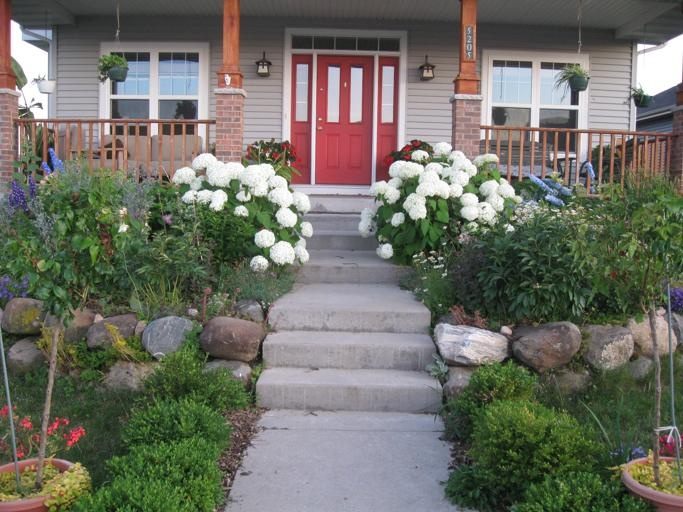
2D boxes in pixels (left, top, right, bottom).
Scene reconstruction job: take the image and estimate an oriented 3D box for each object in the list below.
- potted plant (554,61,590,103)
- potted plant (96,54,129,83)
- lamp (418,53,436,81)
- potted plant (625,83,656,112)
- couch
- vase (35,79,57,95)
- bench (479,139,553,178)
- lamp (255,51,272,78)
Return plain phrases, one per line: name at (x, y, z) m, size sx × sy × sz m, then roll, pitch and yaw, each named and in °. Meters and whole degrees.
potted plant at (3.821, -2.865, 10.144) m, size 0.636 × 0.619 × 0.690 m, roll 0°, pitch 0°, yaw -7°
potted plant at (-3.620, -2.971, 9.709) m, size 0.505 × 0.411 × 0.317 m, roll 9°, pitch 9°, yaw 38°
lamp at (1.443, -3.194, 10.538) m, size 0.301 × 0.423 × 0.292 m, roll 3°, pitch 7°, yaw 1°
potted plant at (5.145, -2.713, 10.695) m, size 0.409 × 0.452 × 0.453 m, roll 0°, pitch 1°, yaw 4°
couch at (-2.951, -1.592, 9.547) m, size 1.673 × 0.647 × 2.916 m, roll 0°, pitch 9°, yaw -20°
vase at (-4.991, -2.858, 10.478) m, size 0.265 × 0.260 × 0.365 m, roll 5°, pitch 8°, yaw 19°
bench at (2.664, -1.563, 9.781) m, size 1.186 × 0.639 × 2.997 m, roll 6°, pitch 9°, yaw 20°
lamp at (-1.323, -3.209, 10.389) m, size 0.300 × 0.554 × 0.332 m, roll 0°, pitch 6°, yaw -2°
